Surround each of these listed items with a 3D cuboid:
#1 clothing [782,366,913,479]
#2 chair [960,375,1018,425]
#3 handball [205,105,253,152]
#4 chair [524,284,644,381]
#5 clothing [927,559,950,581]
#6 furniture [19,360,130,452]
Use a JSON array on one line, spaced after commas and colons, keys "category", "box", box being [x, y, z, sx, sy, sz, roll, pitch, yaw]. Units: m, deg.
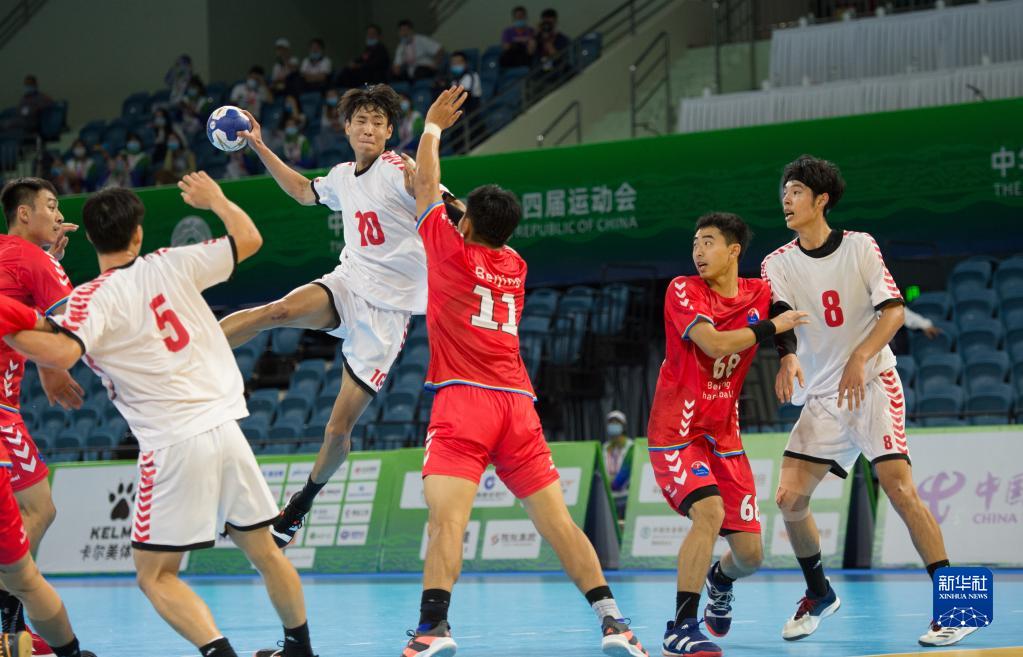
[{"category": "clothing", "box": [2.866, 0.680, 8.521, 0.619, 1.131, 1.203, 15, -14, -34]}, {"category": "chair", "box": [6.534, 0.982, 13.892, 0.752, 0.978, 0.816, 1, 0, 15]}, {"category": "handball", "box": [-2.410, -1.727, 8.751, 0.347, 0.372, 0.237, -4, 1, -8]}, {"category": "chair", "box": [1.049, 0.049, 17.620, 1.711, 2.309, 1.734, 1, 2, 10]}, {"category": "clothing", "box": [3.355, 1.899, 8.039, 0.164, 0.134, 0.175, 2, -12, -17]}, {"category": "furniture", "box": [-5.870, 1.155, 13.777, 1.132, 1.523, 0.466, -11, -24, 24]}]
